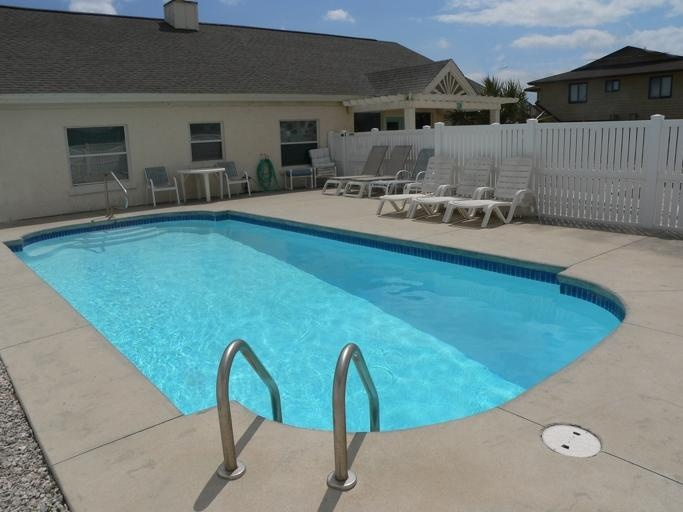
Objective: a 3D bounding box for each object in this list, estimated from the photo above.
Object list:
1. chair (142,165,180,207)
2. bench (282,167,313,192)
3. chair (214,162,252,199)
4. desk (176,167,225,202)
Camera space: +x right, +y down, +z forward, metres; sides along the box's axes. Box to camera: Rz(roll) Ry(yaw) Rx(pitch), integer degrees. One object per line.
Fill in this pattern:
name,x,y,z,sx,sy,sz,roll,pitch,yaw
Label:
chair,-5.375,-2.078,13.799,0.844,1.017,0.803,-10,21,-32
bench,-1.537,-2.840,16.675,1.013,0.814,0.924,-5,13,-21
chair,-3.468,-2.640,15.412,1.062,1.183,1.112,13,25,33
desk,-4.312,-2.228,14.336,1.371,1.017,1.660,-4,13,-16
